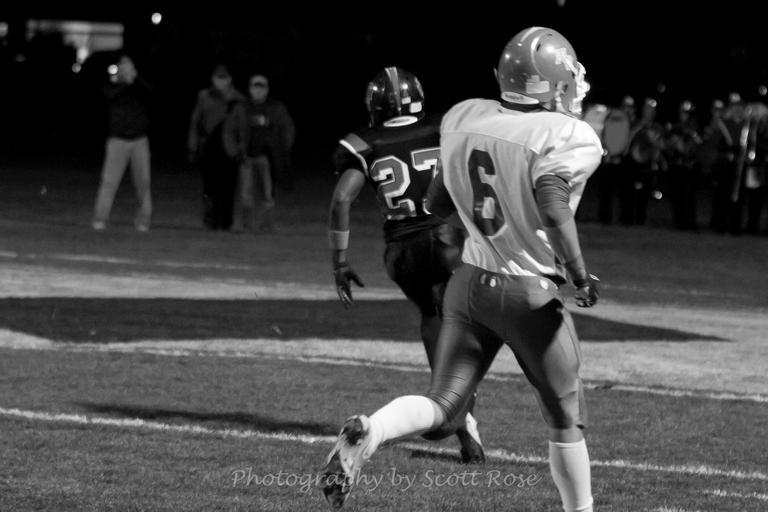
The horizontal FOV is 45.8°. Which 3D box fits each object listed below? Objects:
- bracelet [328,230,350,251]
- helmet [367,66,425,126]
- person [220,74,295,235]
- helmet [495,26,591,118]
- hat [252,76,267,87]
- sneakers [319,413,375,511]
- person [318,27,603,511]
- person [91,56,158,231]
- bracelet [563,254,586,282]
[{"bbox_3d":[-0.297,-0.111,5.964,0.126,0.122,0.111,1,5,-8],"label":"bracelet"},{"bbox_3d":[0.066,-1.040,5.922,0.407,0.357,0.308,-2,2,-6],"label":"helmet"},{"bbox_3d":[-1.020,-0.807,7.316,0.536,1.240,0.289,0,11,-11],"label":"person"},{"bbox_3d":[0.861,-0.975,4.897,0.519,0.452,0.403,-10,14,-33],"label":"helmet"},{"bbox_3d":[-0.974,-1.376,7.108,0.095,0.026,0.093,1,37,-4],"label":"hat"},{"bbox_3d":[-0.191,1.017,4.582,0.192,0.536,0.218,30,-17,-18],"label":"sneakers"},{"bbox_3d":[0.494,0.250,4.846,1.235,2.094,0.647,1,11,-7],"label":"person"},{"bbox_3d":[-2.240,-0.980,7.753,0.483,1.423,0.774,-1,12,-15],"label":"person"},{"bbox_3d":[0.973,0.059,4.640,0.101,0.137,0.079,-25,-4,2],"label":"bracelet"}]
